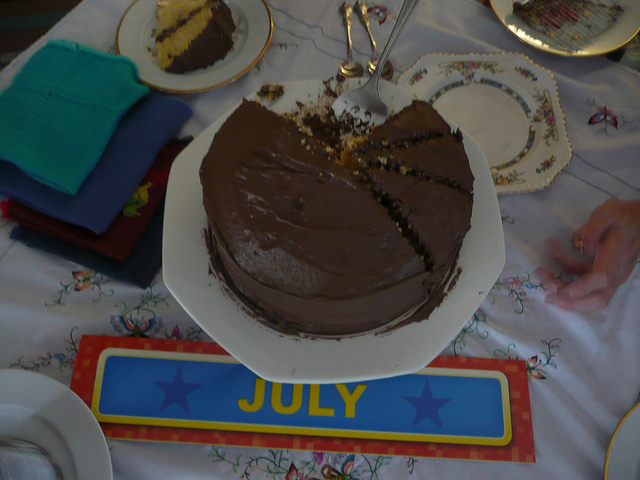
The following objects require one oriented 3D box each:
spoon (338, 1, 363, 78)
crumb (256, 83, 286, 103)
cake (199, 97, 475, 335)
[{"bbox_3d":[0.106,-0.667,2.400,0.057,0.033,0.315,-1,69,1],"label":"spoon"},{"bbox_3d":[-0.148,-0.451,2.123,0.062,0.017,0.065,-35,78,-13],"label":"crumb"},{"bbox_3d":[0.016,-0.101,1.829,0.566,0.197,0.695,5,79,0],"label":"cake"}]
